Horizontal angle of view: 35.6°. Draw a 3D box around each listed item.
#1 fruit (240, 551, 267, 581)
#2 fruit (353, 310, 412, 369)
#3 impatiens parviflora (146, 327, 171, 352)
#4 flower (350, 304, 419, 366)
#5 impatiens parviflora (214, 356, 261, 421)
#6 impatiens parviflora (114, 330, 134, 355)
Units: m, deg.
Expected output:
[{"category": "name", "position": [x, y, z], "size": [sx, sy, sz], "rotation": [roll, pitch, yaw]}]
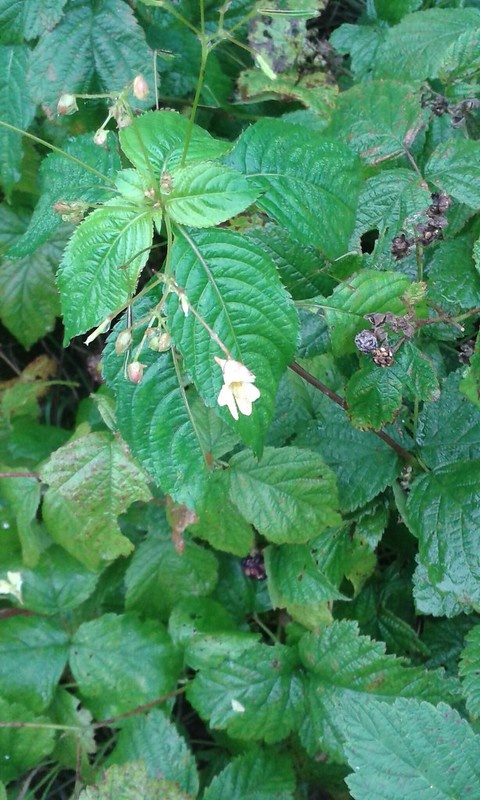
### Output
[{"category": "fruit", "position": [0.057, 0.538, 2.480], "size": [0.081, 0.096, 0.052], "rotation": [22, 52, 36]}, {"category": "fruit", "position": [0.368, -0.141, 1.906], "size": [0.134, 0.072, 0.149], "rotation": [36, 46, 22]}, {"category": "impatiens parviflora", "position": [-0.185, -0.137, 1.647], "size": [0.052, 0.021, 0.056], "rotation": [-2, 75, -6]}, {"category": "flower", "position": [0.368, -0.145, 1.893], "size": [0.134, 0.066, 0.156], "rotation": [37, 54, 27]}, {"category": "impatiens parviflora", "position": [-0.008, -0.030, 1.535], "size": [0.092, 0.127, 0.042], "rotation": [-31, 14, -5]}, {"category": "impatiens parviflora", "position": [-0.252, -0.132, 1.606], "size": [0.040, 0.020, 0.056], "rotation": [24, 74, 5]}]
